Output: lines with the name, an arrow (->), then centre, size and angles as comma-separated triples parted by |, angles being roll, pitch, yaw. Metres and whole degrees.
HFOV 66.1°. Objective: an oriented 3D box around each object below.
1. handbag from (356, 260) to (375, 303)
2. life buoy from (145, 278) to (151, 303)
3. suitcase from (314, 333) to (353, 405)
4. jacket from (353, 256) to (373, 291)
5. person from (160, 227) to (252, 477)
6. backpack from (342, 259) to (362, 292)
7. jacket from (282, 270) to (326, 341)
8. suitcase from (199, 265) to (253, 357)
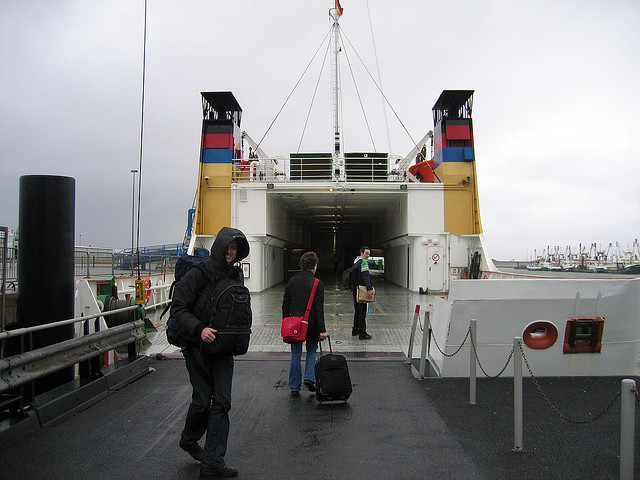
handbag -> 0.924, 0.925, 10.758 | 0.273, 0.921, 0.459 | -5, 7, -43
life buoy -> -4.398, 1.351, 12.689 | 0.102, 0.662, 0.830 | -2, 6, -19
suitcase -> 0.144, 1.867, 7.444 | 0.485, 1.232, 0.495 | 5, -38, -16
jacket -> 0.961, 0.729, 10.910 | 0.538, 0.687, 0.400 | 6, 3, -1
person -> -1.150, 1.243, 5.895 | 1.100, 2.575, 1.270 | 5, 7, -15
backpack -> 0.714, 0.809, 11.079 | 0.351, 0.715, 0.507 | 4, -1, -4
jacket -> -0.245, 0.883, 7.568 | 0.515, 1.149, 0.585 | 5, 5, -4
suitcase -> -1.067, 0.810, 5.548 | 0.575, 1.012, 0.291 | -1, 5, -16
